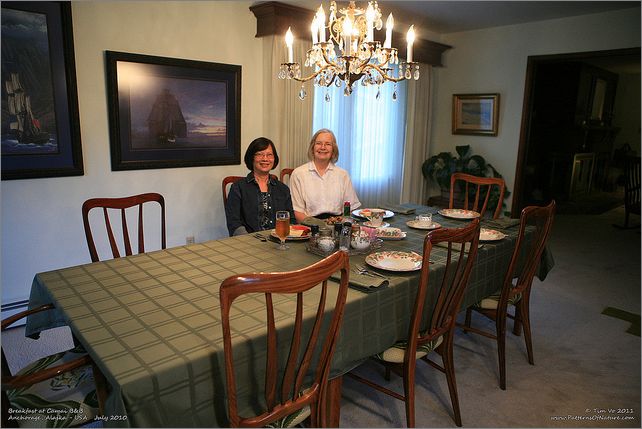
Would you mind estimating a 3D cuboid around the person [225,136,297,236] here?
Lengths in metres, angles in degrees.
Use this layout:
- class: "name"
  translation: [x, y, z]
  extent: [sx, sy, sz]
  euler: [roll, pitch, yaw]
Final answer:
- class: "person"
  translation: [-0.508, -0.205, 3.691]
  extent: [0.599, 0.994, 0.553]
  euler: [2, -3, -21]

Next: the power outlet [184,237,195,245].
- class: "power outlet"
  translation: [-1.348, 0.260, 4.296]
  extent: [0.008, 0.082, 0.069]
  euler: [14, 17, 41]

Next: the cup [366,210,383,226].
- class: "cup"
  translation: [0.447, 0.025, 3.358]
  extent: [0.105, 0.142, 0.150]
  euler: [-9, 19, -23]

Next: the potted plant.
- class: "potted plant"
  translation: [2.024, -0.638, 6.211]
  extent: [0.891, 0.460, 0.656]
  euler: [8, 8, 3]

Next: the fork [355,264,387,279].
- class: "fork"
  translation: [0.300, 0.354, 2.545]
  extent: [0.063, 0.041, 0.269]
  euler: [-16, 25, -29]

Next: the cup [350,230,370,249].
- class: "cup"
  translation: [0.273, 0.173, 2.885]
  extent: [0.105, 0.110, 0.105]
  euler: [-1, 12, 0]

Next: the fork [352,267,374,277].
- class: "fork"
  translation: [0.254, 0.344, 2.559]
  extent: [0.039, 0.027, 0.174]
  euler: [-17, 14, -25]

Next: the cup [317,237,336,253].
- class: "cup"
  translation: [0.042, 0.197, 2.804]
  extent: [0.102, 0.081, 0.102]
  euler: [0, 8, 0]

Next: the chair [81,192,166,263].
- class: "chair"
  translation: [-1.684, 0.097, 3.517]
  extent: [0.449, 0.804, 0.488]
  euler: [-9, 18, -39]

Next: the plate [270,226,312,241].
- class: "plate"
  translation: [-0.169, 0.135, 3.095]
  extent: [0.152, 0.022, 0.157]
  euler: [9, 18, 21]

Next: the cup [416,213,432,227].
- class: "cup"
  translation: [0.842, 0.045, 3.421]
  extent: [0.103, 0.090, 0.084]
  euler: [7, -3, -37]

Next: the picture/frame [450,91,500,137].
- class: "picture/frame"
  translation: [2.253, -1.457, 6.053]
  extent: [0.612, 0.628, 0.048]
  euler: [13, 19, 40]
